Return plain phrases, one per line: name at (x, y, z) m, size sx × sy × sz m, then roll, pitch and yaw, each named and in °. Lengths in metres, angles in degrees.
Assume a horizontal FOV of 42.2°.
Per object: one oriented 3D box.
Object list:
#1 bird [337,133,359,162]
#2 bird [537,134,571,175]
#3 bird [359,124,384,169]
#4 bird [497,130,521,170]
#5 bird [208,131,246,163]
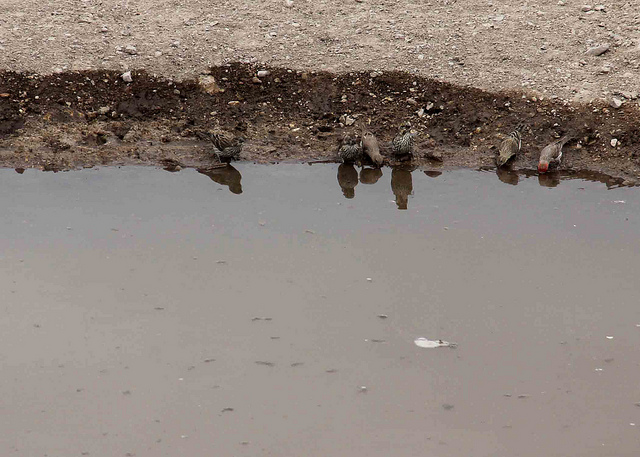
bird at (0.552, -1.538, 15.864) m, size 0.508 × 0.395 × 0.205 m, roll 4°, pitch 3°, yaw 0°
bird at (4.453, -1.395, 15.792) m, size 0.364 × 0.844 × 0.428 m, roll 27°, pitch -3°, yaw 34°
bird at (0.957, -1.603, 16.074) m, size 0.485 × 0.766 × 0.356 m, roll -24°, pitch 1°, yaw -7°
bird at (3.649, -1.523, 15.900) m, size 0.409 × 0.717 × 0.339 m, roll 30°, pitch 11°, yaw 11°
bird at (-1.798, -1.589, 16.085) m, size 0.539 × 0.549 × 0.441 m, roll -14°, pitch 43°, yaw -8°
